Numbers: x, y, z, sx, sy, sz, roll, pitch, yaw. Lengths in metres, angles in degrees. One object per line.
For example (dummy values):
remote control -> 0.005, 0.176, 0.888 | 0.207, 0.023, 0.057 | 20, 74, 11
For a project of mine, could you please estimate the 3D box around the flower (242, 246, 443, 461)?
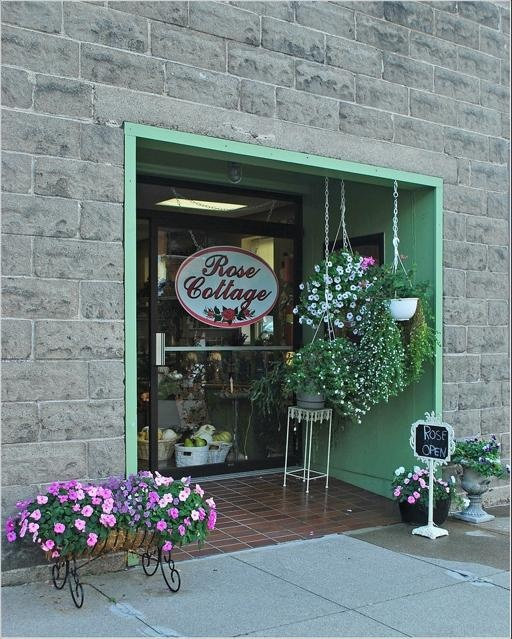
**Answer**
flower -> 0.565, 0.211, 5.198 | 1.559, 0.908, 1.344 | 3, -8, -20

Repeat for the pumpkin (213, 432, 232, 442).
pumpkin -> -0.274, 0.970, 5.753 | 0.113, 0.095, 0.107 | 0, -1, -28

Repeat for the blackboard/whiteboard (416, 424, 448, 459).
blackboard/whiteboard -> 1.105, 0.757, 4.265 | 0.030, 0.217, 0.248 | 3, -7, -36

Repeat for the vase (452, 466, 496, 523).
vase -> 1.513, 1.204, 4.769 | 0.338, 0.364, 0.291 | 10, -13, -30

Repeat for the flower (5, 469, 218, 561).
flower -> -0.644, 0.929, 3.175 | 0.935, 0.400, 0.368 | 2, -2, -23

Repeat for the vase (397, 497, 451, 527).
vase -> 1.083, 1.215, 4.434 | 0.249, 0.136, 0.237 | 3, -12, -17

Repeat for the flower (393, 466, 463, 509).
flower -> 1.123, 1.084, 4.472 | 0.406, 0.196, 0.373 | 0, 0, -3

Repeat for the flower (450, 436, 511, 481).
flower -> 1.566, 0.941, 4.785 | 0.388, 0.238, 0.341 | 7, -23, 11

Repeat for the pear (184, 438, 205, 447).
pear -> -0.496, 1.010, 5.625 | 0.144, 0.068, 0.066 | -1, -1, -17
